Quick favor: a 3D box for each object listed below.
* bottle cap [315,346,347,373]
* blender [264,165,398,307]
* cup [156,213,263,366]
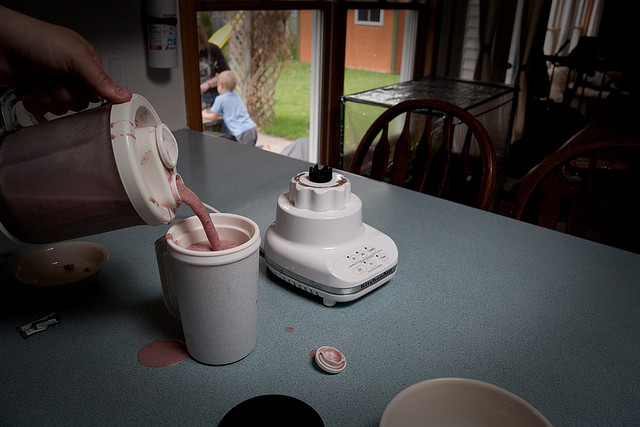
[{"bbox_3d":[0.019,0.251,0.741,0.053,0.021,0.041,10,31,15],"label":"bottle cap"},{"bbox_3d":[0.018,0.028,0.926,0.235,0.234,0.305,-12,27,-30],"label":"blender"},{"bbox_3d":[-0.208,0.121,0.756,0.191,0.189,0.128,-1,8,40],"label":"cup"}]
